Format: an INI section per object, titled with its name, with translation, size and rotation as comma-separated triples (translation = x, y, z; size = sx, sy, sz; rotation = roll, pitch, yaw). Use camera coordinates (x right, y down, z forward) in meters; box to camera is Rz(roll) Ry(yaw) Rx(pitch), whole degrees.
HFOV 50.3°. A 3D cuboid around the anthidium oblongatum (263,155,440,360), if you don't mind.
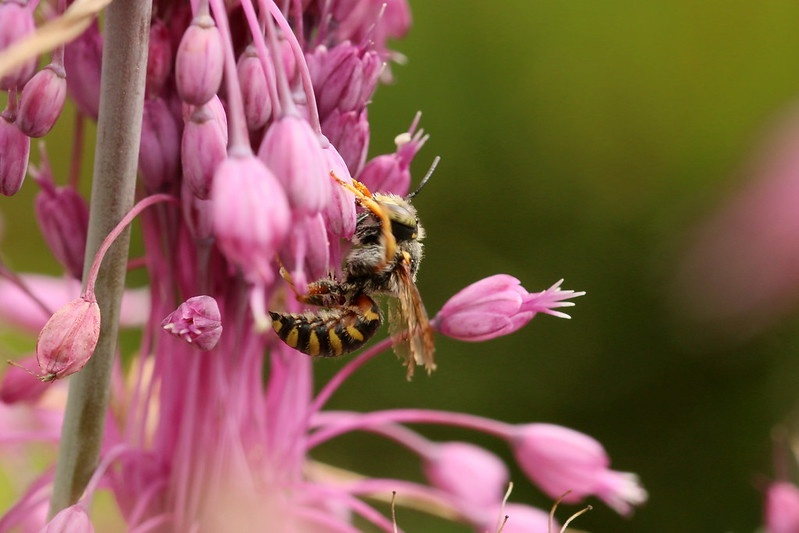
[anthidium oblongatum]
translation = -0.046, -0.006, 1.394
size = 0.218, 0.321, 0.205
rotation = 4, 20, 8
